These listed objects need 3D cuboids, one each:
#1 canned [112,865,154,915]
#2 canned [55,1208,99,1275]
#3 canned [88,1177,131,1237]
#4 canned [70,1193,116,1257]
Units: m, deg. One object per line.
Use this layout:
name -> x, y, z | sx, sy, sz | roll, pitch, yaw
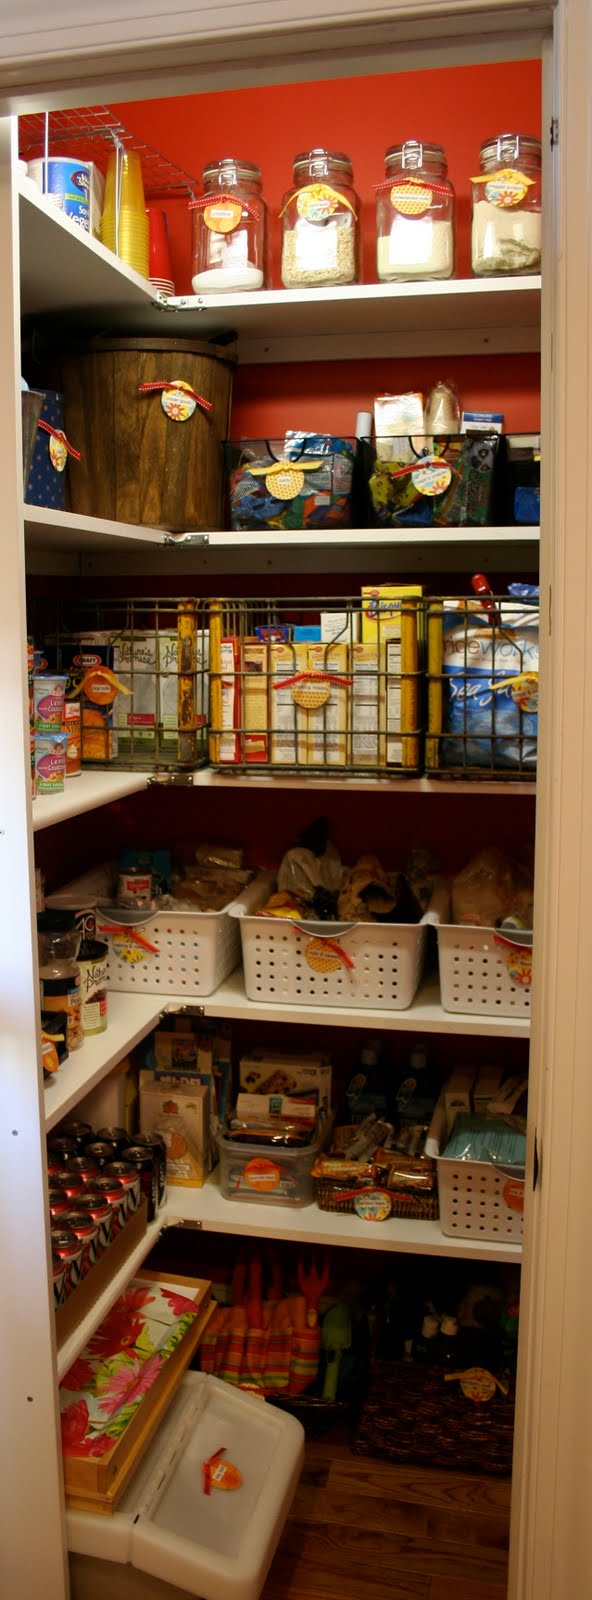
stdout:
canned -> -0.323, 0.176, 1.955 | 0.057, 0.102, 0.072 | 3, 7, 14
canned -> -0.329, 0.657, 1.472 | 0.042, 0.072, 0.053 | 2, 3, -2
canned -> -0.300, 0.650, 1.601 | 0.050, 0.091, 0.064 | 1, 5, -2
canned -> -0.314, 0.650, 1.536 | 0.048, 0.087, 0.062 | 1, 13, -4
